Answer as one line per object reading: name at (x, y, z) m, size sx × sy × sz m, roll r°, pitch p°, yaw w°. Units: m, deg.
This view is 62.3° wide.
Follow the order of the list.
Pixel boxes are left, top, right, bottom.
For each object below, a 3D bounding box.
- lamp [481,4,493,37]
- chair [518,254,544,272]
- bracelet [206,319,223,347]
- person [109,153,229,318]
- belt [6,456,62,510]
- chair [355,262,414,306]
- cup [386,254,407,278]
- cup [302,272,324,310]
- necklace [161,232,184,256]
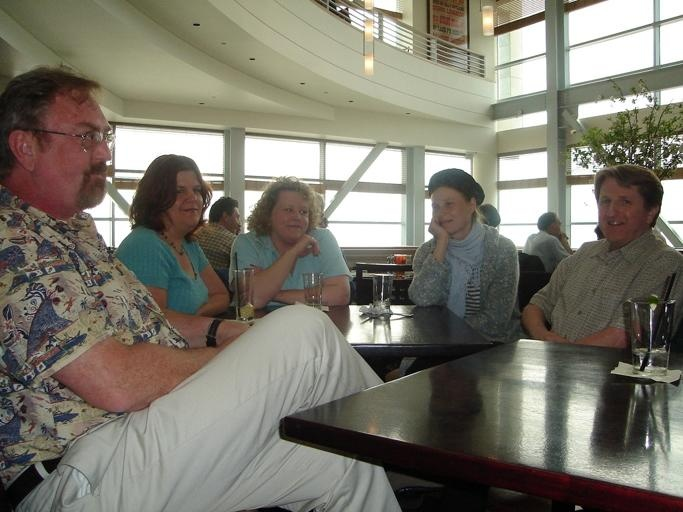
lamp at (1.935, -3.119, 7.457) m, size 0.120 × 0.426 × 0.335 m, roll 2°, pitch 6°, yaw 8°
chair at (1.497, 0.052, 4.504) m, size 0.182 × 0.141 × 0.181 m, roll -4°, pitch 6°, yaw -31°
bracelet at (-0.469, 0.281, 2.066) m, size 0.044 × 0.100 × 0.077 m, roll 9°, pitch -4°, yaw 2°
person at (-0.792, -0.064, 2.577) m, size 0.474 × 0.764 × 0.622 m, roll 1°, pitch 2°, yaw 7°
belt at (-0.792, 0.571, 1.439) m, size 0.141 × 0.034 × 0.101 m, roll -33°, pitch 7°, yaw -4°
chair at (0.382, 0.200, 5.152) m, size 0.506 × 0.596 × 0.415 m, roll 2°, pitch 7°, yaw 7°
cup at (0.579, 0.096, 5.828) m, size 0.172 × 0.171 × 0.303 m, roll 4°, pitch -34°, yaw 10°
cup at (-0.118, 0.156, 2.383) m, size 0.127 × 0.194 × 0.128 m, roll -1°, pitch -4°, yaw 0°
necklace at (-0.759, -0.051, 2.540) m, size 0.020 × 0.088 × 0.095 m, roll -26°, pitch -32°, yaw 6°
